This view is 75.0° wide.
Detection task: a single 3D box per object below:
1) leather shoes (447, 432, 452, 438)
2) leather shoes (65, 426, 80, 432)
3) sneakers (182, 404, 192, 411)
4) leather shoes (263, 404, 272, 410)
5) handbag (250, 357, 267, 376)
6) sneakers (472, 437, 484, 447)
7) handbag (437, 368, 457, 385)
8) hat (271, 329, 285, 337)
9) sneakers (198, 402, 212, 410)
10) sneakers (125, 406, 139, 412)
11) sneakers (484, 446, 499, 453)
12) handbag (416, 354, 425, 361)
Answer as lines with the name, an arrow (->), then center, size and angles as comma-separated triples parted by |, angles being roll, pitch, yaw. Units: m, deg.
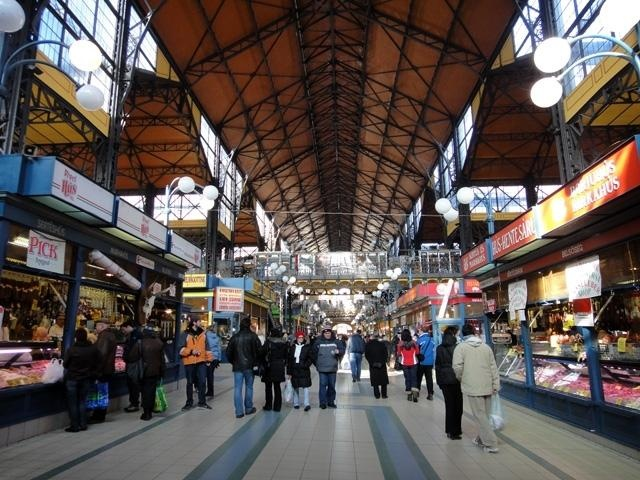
leather shoes -> 2.162, 3.320, 7.064 | 0.068, 0.072, 0.126 | -3, -19, 16
leather shoes -> -4.341, 3.343, 7.364 | 0.252, 0.110, 0.091 | -1, -18, 17
sneakers -> -2.884, 3.642, 9.040 | 0.087, 0.103, 0.247 | -8, -14, 19
leather shoes -> -1.134, 3.597, 8.939 | 0.168, 0.177, 0.092 | 12, -24, -16
handbag -> -1.299, 2.640, 8.718 | 0.355, 0.304, 0.532 | -6, -39, -7
sneakers -> 2.510, 3.242, 6.705 | 0.119, 0.134, 0.418 | -1, -10, 7
handbag -> 2.142, 2.313, 7.041 | 0.366, 0.371, 0.220 | -2, -26, 11
hat -> -0.948, 2.033, 9.199 | 0.187, 0.197, 0.187 | -2, -3, 37
sneakers -> -2.491, 3.652, 9.162 | 0.347, 0.153, 0.121 | 7, -13, 7
sneakers -> -3.947, 3.562, 8.756 | 0.208, 0.094, 0.102 | 21, -26, -37
sneakers -> 2.617, 3.231, 6.405 | 0.210, 0.085, 0.138 | -3, -11, 17
handbag -> 2.476, 2.977, 10.485 | 0.184, 0.154, 0.274 | -9, -35, 8
